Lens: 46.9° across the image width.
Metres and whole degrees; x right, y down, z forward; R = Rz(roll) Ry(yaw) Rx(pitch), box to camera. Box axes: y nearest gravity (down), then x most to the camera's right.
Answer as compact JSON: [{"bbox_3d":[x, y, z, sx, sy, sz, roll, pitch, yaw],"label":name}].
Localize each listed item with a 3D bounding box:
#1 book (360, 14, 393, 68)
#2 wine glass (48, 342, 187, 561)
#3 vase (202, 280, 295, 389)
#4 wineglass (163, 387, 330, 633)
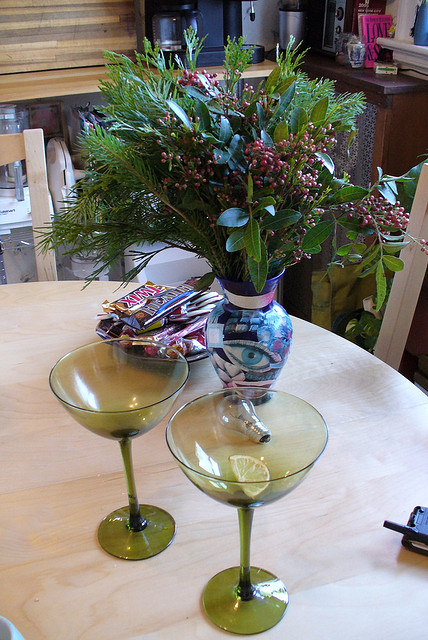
[{"bbox_3d":[0.647,-1.123,1.982,0.138,0.199,0.178,6,25,12],"label":"book"},{"bbox_3d":[-0.084,0.139,0.501,0.131,0.170,0.137,0,13,17],"label":"wine glass"},{"bbox_3d":[0.042,0.024,0.719,0.142,0.166,0.143,7,10,30],"label":"vase"},{"bbox_3d":[0.029,0.192,0.452,0.106,0.231,0.094,20,32,40],"label":"wineglass"}]
